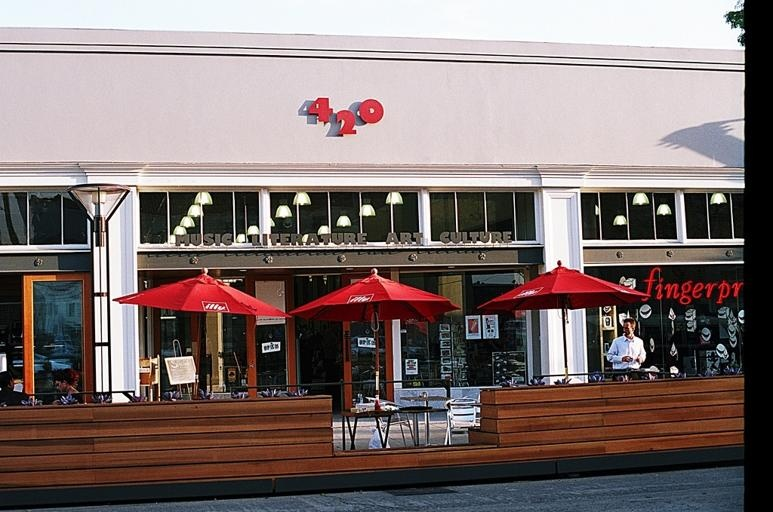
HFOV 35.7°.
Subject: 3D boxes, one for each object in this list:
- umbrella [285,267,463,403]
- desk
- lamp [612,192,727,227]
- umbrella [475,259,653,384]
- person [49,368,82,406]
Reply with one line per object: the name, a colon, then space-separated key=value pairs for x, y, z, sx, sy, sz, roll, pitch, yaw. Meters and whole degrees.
umbrella: x=-0.040 y=1.755 z=23.533 sx=2.885 sy=2.092 sz=2.834 roll=-1 pitch=2 yaw=22
desk: x=0.176 y=3.378 z=24.531 sx=2.114 sy=1.017 sz=5.896 roll=-4 pitch=-7 yaw=1
lamp: x=6.709 y=-1.115 z=29.019 sx=3.296 sy=0.728 sz=0.511 roll=-6 pitch=-3 yaw=-18
umbrella: x=3.373 y=0.825 z=23.512 sx=2.687 sy=2.012 sz=2.677 roll=-9 pitch=-7 yaw=37
person: x=-6.650 y=2.761 z=24.932 sx=0.527 sy=0.806 sz=1.095 roll=5 pitch=3 yaw=-7
